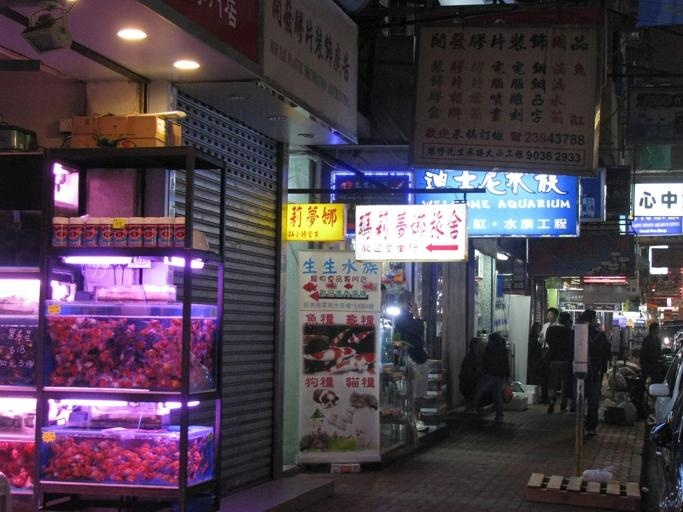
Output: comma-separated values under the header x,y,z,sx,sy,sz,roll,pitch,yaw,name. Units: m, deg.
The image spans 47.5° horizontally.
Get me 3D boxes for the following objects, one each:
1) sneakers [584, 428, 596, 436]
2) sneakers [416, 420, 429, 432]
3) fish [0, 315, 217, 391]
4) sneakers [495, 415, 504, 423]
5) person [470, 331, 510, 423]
x,y,z,sx,sy,sz,roll,pitch,yaw,name
4.196,2.987,13.171,0.137,0.125,0.135,2,-8,3,sneakers
1.321,2.797,12.769,0.114,0.137,0.341,-3,-16,13,sneakers
-1.830,0.790,6.292,2.091,0.674,0.597,0,-7,6,fish
3.049,3.143,15.065,0.177,0.075,0.617,3,-2,12,sneakers
3.031,2.363,15.530,0.687,1.690,1.192,5,-2,-11,person
